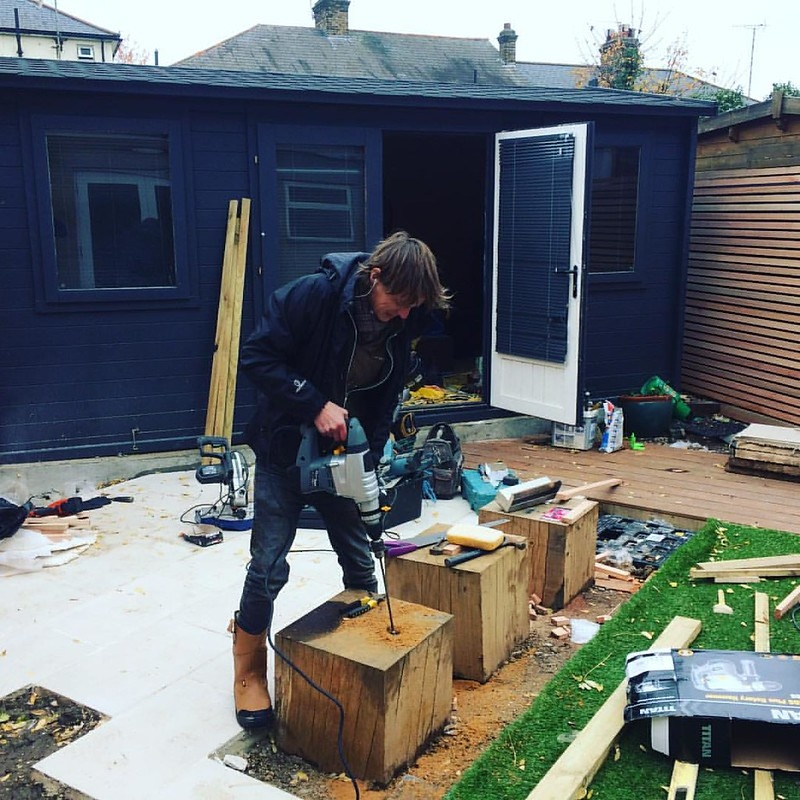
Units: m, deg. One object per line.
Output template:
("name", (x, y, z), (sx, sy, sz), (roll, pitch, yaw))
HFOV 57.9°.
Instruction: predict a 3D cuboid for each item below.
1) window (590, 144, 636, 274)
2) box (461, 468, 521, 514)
("window", (2.096, -1.754, 7.178), (0.597, 0.874, 0.075), (-8, 16, -25))
("box", (0.621, 0.626, 4.990), (0.357, 0.114, 0.325), (-4, 11, -25))
